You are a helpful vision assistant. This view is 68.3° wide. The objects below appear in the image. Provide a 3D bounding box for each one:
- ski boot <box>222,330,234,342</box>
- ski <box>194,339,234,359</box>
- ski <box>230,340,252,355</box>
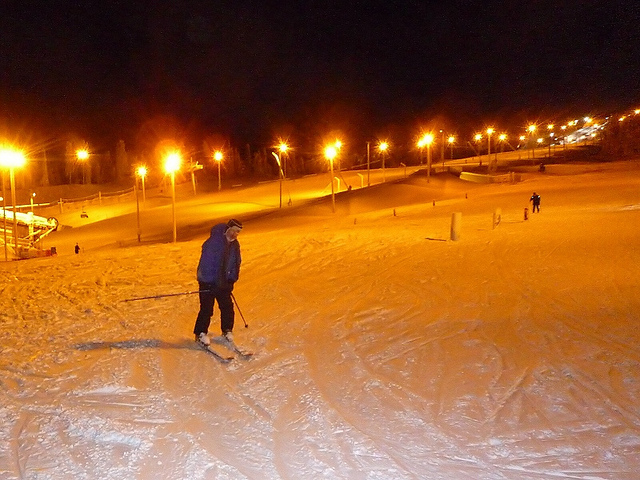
[{"bbox_3d":[-1.853,1.912,9.503,0.123,0.125,0.258,-1,-1,-32],"label":"ski boot"},{"bbox_3d":[-2.061,2.103,9.184,1.116,0.110,0.257,14,19,42],"label":"ski"},{"bbox_3d":[-1.553,2.093,9.305,0.138,0.116,0.796,25,1,-31],"label":"ski"}]
